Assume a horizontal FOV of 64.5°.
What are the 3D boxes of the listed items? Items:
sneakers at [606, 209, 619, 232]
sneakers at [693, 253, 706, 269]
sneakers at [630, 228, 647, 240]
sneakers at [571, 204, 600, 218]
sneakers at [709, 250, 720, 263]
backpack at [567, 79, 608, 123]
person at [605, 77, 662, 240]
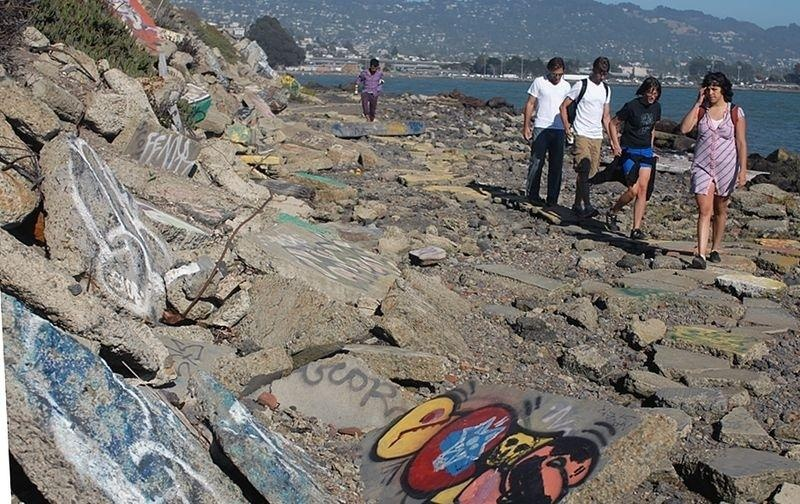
[{"bbox_3d":[2.876,-0.417,8.476,0.128,0.338,0.166,-4,-20,-10],"label":"sneakers"},{"bbox_3d":[3.325,0.101,7.042,0.104,0.180,0.124,-8,0,23],"label":"sneakers"},{"bbox_3d":[3.049,-0.221,8.043,0.100,0.075,0.178,-5,4,-19],"label":"sneakers"},{"bbox_3d":[2.578,-0.577,8.824,0.148,0.165,0.372,1,-3,-36],"label":"sneakers"},{"bbox_3d":[3.604,0.055,7.225,0.078,0.060,0.143,-3,15,14],"label":"sneakers"},{"bbox_3d":[2.352,-1.979,8.341,0.261,0.551,0.132,-17,36,-19],"label":"backpack"},{"bbox_3d":[2.927,-1.114,7.975,0.579,2.038,0.884,5,35,12],"label":"person"}]
